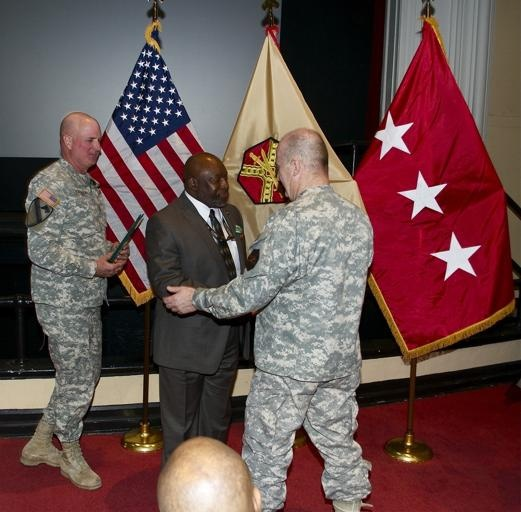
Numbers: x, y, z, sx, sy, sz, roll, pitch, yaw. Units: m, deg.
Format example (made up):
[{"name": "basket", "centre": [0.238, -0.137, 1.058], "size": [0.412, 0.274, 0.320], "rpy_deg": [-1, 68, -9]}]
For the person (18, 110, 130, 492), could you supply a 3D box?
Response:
[{"name": "person", "centre": [-0.942, 0.208, 2.955], "size": [0.506, 1.872, 0.480], "rpy_deg": [6, 11, 19]}]

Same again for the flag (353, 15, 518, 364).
[{"name": "flag", "centre": [0.956, -0.362, 3.080], "size": [0.859, 1.821, 0.319], "rpy_deg": [4, 11, 9]}]

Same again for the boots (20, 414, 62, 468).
[{"name": "boots", "centre": [-1.160, 1.012, 3.089], "size": [0.131, 0.263, 0.281], "rpy_deg": [-6, -27, 28]}]
